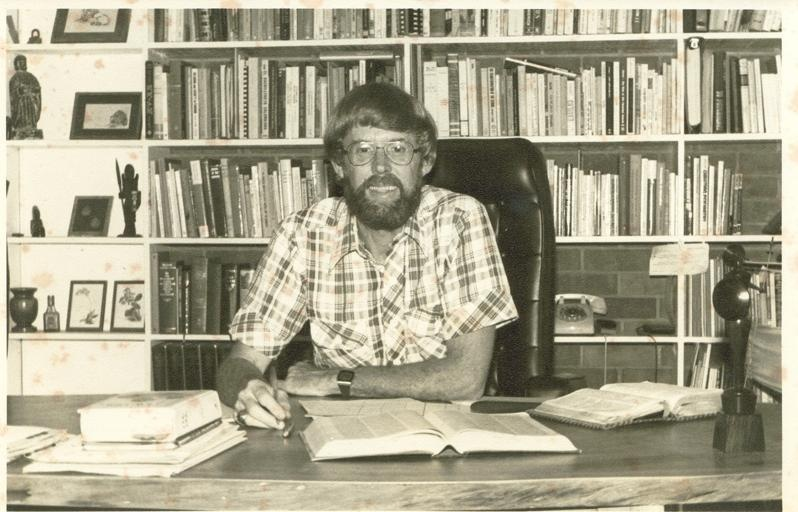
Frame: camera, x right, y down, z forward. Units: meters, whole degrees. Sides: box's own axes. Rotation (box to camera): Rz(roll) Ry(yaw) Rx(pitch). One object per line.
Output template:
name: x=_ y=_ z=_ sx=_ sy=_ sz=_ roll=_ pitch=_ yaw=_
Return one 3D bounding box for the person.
person: x=-0.147 y=0.023 z=3.048 sx=1.065 sy=0.973 sz=0.762 roll=-5 pitch=19 yaw=-5

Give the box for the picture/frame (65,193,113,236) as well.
picture/frame: x=-1.487 y=-0.194 z=4.216 sx=0.199 sy=0.198 sz=0.167 roll=-1 pitch=0 yaw=-2

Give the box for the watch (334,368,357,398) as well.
watch: x=-0.177 y=0.406 z=2.847 sx=0.065 sy=0.069 sz=0.080 roll=1 pitch=4 yaw=3

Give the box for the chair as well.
chair: x=-0.010 y=0.019 z=2.988 sx=0.852 sy=0.977 sz=0.850 roll=1 pitch=6 yaw=10

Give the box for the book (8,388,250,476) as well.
book: x=-0.716 y=0.434 z=2.377 sx=0.335 sy=0.078 sz=0.326 roll=0 pitch=6 yaw=9

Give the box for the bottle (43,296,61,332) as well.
bottle: x=-1.657 y=0.273 z=4.193 sx=0.076 sy=0.175 sz=0.137 roll=-1 pitch=0 yaw=-18
